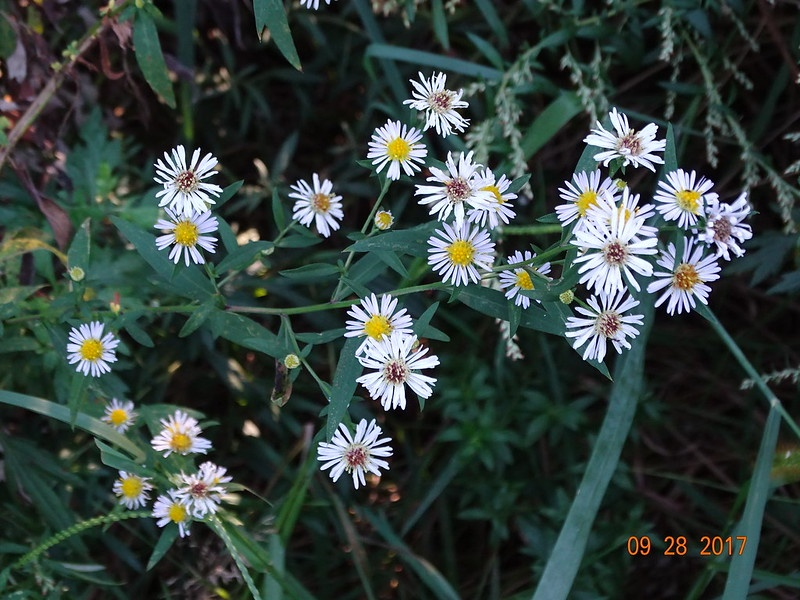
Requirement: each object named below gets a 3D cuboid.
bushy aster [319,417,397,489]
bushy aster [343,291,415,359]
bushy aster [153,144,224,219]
[{"bbox_3d":[-0.076,0.272,1.313,0.120,0.055,0.139,2,8,31],"label":"bushy aster"},{"bbox_3d":[-0.034,0.051,1.296,0.119,0.054,0.140,2,13,5],"label":"bushy aster"},{"bbox_3d":[-0.370,-0.218,1.323,0.106,0.049,0.117,-17,-17,42],"label":"bushy aster"}]
